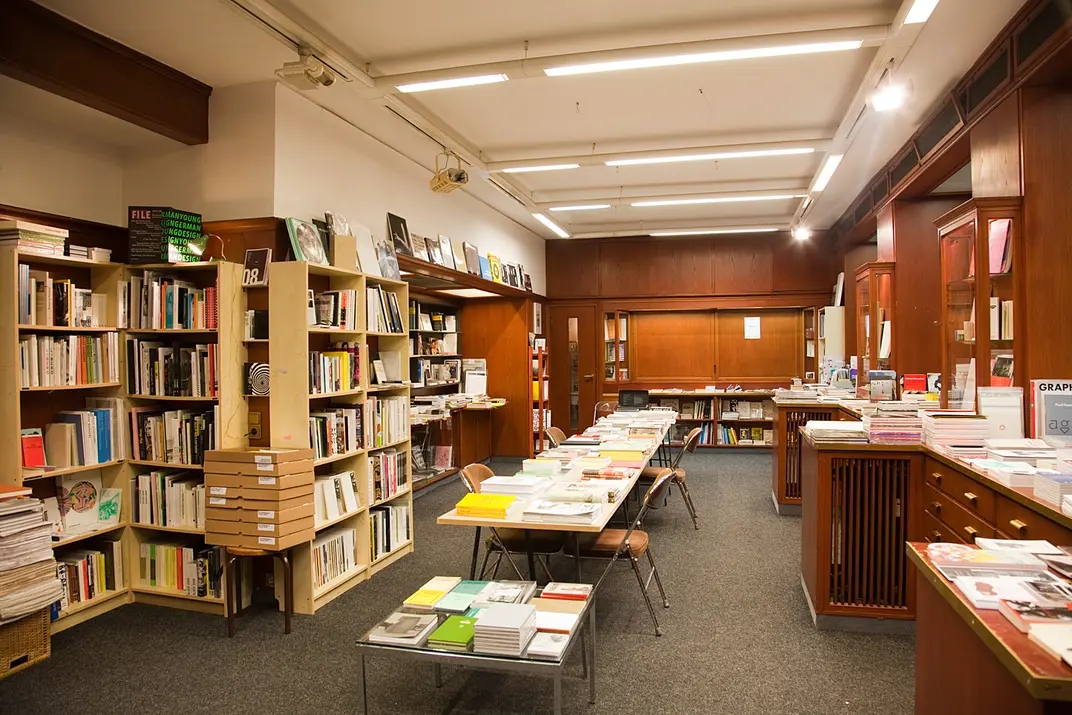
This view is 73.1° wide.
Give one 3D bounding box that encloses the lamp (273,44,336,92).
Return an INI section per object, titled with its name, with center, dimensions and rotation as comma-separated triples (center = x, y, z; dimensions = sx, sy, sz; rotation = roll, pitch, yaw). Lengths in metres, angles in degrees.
[lamp]
center = -1.853, -2.348, 5.993
dimensions = 0.347, 0.124, 0.343
rotation = 0, 1, 29

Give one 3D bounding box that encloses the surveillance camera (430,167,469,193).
[surveillance camera]
center = -0.956, -1.961, 7.755
dimensions = 0.276, 0.211, 0.492
rotation = 2, -10, -35
